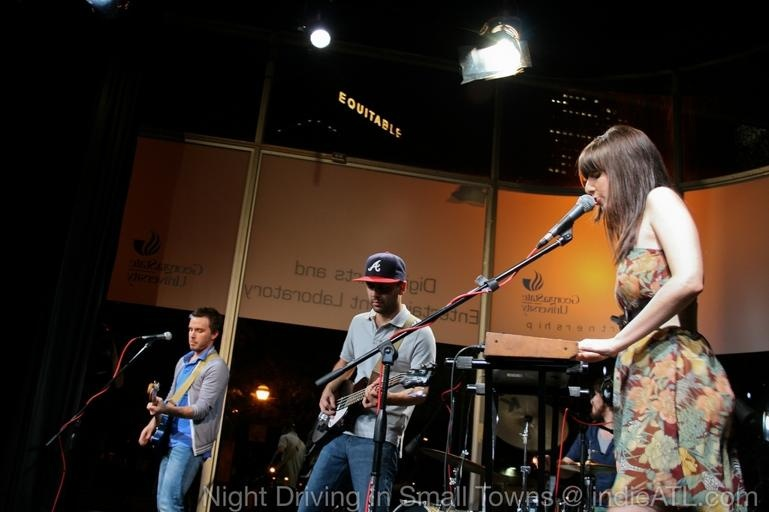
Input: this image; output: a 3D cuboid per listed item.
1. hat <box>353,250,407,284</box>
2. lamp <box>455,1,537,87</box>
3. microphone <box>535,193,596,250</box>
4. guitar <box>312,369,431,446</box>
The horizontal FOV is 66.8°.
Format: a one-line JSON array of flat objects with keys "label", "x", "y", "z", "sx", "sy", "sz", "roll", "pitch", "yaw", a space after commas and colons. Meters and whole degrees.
[{"label": "hat", "x": 0.022, "y": 0.098, "z": 4.485, "sx": 0.218, "sy": 0.180, "sz": 0.327, "roll": -1, "pitch": -7, "yaw": 29}, {"label": "lamp", "x": 1.095, "y": -1.954, "z": 5.608, "sx": 0.530, "sy": 0.332, "sz": 0.747, "roll": 17, "pitch": -48, "yaw": 15}, {"label": "microphone", "x": 1.596, "y": -0.290, "z": 5.124, "sx": 0.192, "sy": 0.206, "sz": 0.672, "roll": 18, "pitch": -55, "yaw": -35}, {"label": "guitar", "x": -0.043, "y": 1.096, "z": 4.160, "sx": 0.508, "sy": 0.596, "sz": 1.295, "roll": 17, "pitch": -23, "yaw": -29}]
